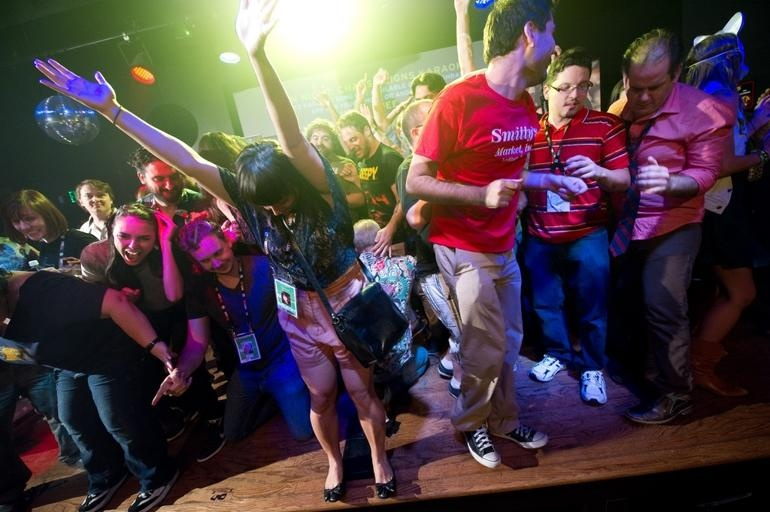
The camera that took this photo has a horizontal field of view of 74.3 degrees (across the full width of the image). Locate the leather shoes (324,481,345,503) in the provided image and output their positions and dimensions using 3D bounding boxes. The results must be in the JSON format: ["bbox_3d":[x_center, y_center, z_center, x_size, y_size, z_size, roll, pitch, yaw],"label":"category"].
[{"bbox_3d":[-0.337,1.624,3.491,0.093,0.056,0.160,-6,-8,2],"label":"leather shoes"}]

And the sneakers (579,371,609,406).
[{"bbox_3d":[1.559,0.994,3.780,0.126,0.125,0.318,-3,5,17],"label":"sneakers"}]

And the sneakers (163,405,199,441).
[{"bbox_3d":[-1.672,1.347,4.082,0.134,0.151,0.396,-4,2,12],"label":"sneakers"}]

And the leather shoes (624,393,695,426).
[{"bbox_3d":[1.940,1.079,3.636,0.463,0.190,0.195,-9,10,1],"label":"leather shoes"}]

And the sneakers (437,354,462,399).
[{"bbox_3d":[0.515,0.966,4.055,0.116,0.318,0.139,-16,-32,9],"label":"sneakers"}]

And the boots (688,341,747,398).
[{"bbox_3d":[2.422,0.821,3.662,0.175,0.336,0.473,-5,5,-15],"label":"boots"}]

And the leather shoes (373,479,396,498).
[{"bbox_3d":[0.004,1.576,3.424,0.103,0.057,0.170,-2,-11,4],"label":"leather shoes"}]

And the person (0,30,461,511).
[{"bbox_3d":[-0.671,0.153,3.240,1.207,3.242,0.519,-19,13,-4],"label":"person"}]

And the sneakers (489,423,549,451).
[{"bbox_3d":[0.944,1.270,3.624,0.419,0.154,0.157,-3,7,28],"label":"sneakers"}]

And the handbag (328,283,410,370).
[{"bbox_3d":[-0.119,0.462,3.225,0.456,0.435,0.239,-40,-4,-6],"label":"handbag"}]

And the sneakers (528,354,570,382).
[{"bbox_3d":[1.302,0.901,4.029,0.328,0.131,0.137,-23,32,-22],"label":"sneakers"}]
